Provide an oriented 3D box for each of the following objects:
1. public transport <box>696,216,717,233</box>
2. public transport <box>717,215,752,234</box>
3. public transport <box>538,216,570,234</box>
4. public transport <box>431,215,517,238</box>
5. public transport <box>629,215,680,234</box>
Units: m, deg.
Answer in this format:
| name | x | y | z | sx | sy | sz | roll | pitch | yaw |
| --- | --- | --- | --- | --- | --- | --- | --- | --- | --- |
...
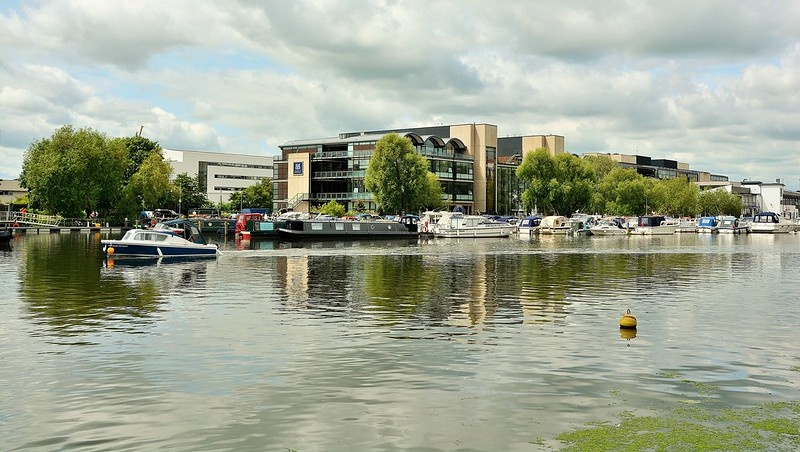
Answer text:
| name | x | y | z | sx | sy | sz | roll | pitch | yaw |
| --- | --- | --- | --- | --- | --- | --- | --- | --- | --- |
| public transport | 59.507 | -0.157 | 132.170 | 3.111 | 2.665 | 3.916 | 3 | 9 | 16 |
| public transport | 65.432 | -0.059 | 134.338 | 4.550 | 2.473 | 6.518 | -1 | -3 | 43 |
| public transport | 26.615 | -0.152 | 116.609 | 4.730 | 1.977 | 2.985 | -2 | 4 | -21 |
| public transport | 11.003 | 0.461 | 99.406 | 12.112 | 2.896 | 3.977 | -3 | 6 | -22 |
| public transport | 45.118 | 0.215 | 121.253 | 6.819 | 2.949 | 15.999 | 4 | 9 | 24 |
